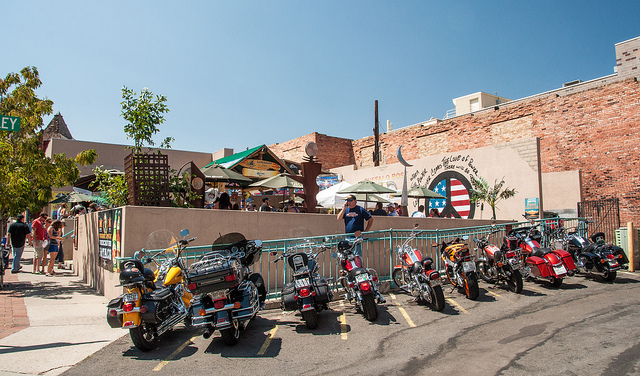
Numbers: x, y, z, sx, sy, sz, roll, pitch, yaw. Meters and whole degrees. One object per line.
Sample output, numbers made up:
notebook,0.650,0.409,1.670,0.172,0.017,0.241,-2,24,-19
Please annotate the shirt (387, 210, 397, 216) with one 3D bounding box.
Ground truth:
shirt,3.501,1.239,21.604,0.315,0.347,0.408,-4,4,12

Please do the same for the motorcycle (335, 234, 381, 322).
motorcycle,1.144,2.787,13.079,0.711,2.147,1.514,-8,14,-28

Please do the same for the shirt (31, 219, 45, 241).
shirt,-11.609,1.726,18.162,0.399,0.801,0.580,-9,14,-30

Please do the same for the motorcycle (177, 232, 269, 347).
motorcycle,-2.484,2.730,11.872,1.987,2.709,1.368,-9,15,-32

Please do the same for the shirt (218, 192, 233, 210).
shirt,-3.769,0.549,17.453,0.531,0.567,0.585,4,-20,-6

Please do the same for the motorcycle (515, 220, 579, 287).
motorcycle,7.913,2.555,15.557,1.869,1.799,0.976,6,14,29

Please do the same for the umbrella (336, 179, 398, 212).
umbrella,2.115,0.208,20.536,1.786,1.152,1.762,-1,0,8

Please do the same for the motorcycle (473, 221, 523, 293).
motorcycle,6.193,2.630,15.218,0.488,1.715,1.618,-12,16,-39

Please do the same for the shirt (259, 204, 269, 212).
shirt,-2.392,0.872,19.034,0.503,0.462,0.282,2,-11,-17

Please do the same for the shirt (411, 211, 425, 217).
shirt,4.578,1.242,20.710,0.465,0.253,0.450,10,9,26

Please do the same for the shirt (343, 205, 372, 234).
shirt,1.177,1.089,15.186,1.116,1.074,0.589,-1,10,24

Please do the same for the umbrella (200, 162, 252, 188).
umbrella,-4.311,-0.581,19.236,1.498,0.759,1.950,8,14,38

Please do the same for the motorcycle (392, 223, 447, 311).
motorcycle,3.073,2.546,13.870,0.924,2.461,1.978,-5,13,-18
